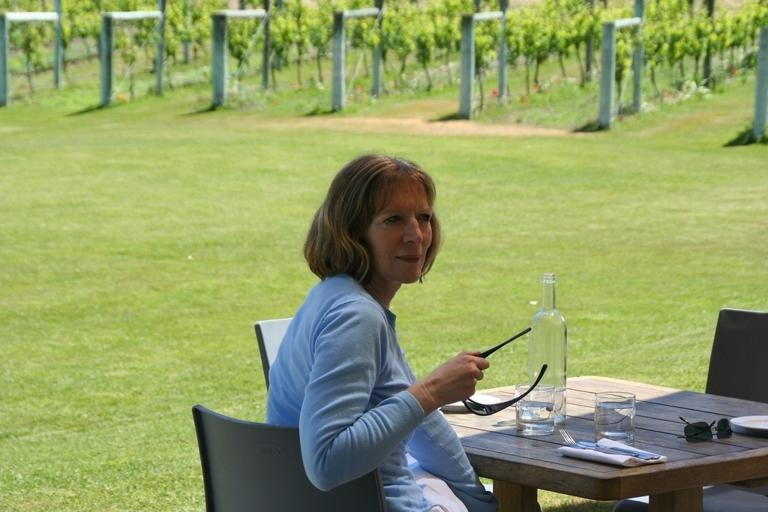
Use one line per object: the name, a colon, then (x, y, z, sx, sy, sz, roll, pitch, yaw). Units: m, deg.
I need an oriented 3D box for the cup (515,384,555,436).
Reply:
cup: (1.002, 0.990, 10.025, 0.266, 0.340, 0.296, 0, 0, 0)

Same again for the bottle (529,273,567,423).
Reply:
bottle: (1.103, 0.594, 10.169, 0.243, 0.963, 0.255, 1, 0, 0)

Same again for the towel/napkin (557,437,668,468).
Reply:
towel/napkin: (1.462, 1.241, 9.804, 0.674, 0.148, 0.142, -1, 8, 12)

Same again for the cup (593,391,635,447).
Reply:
cup: (1.477, 1.047, 9.907, 0.265, 0.343, 0.290, 1, 0, 0)
